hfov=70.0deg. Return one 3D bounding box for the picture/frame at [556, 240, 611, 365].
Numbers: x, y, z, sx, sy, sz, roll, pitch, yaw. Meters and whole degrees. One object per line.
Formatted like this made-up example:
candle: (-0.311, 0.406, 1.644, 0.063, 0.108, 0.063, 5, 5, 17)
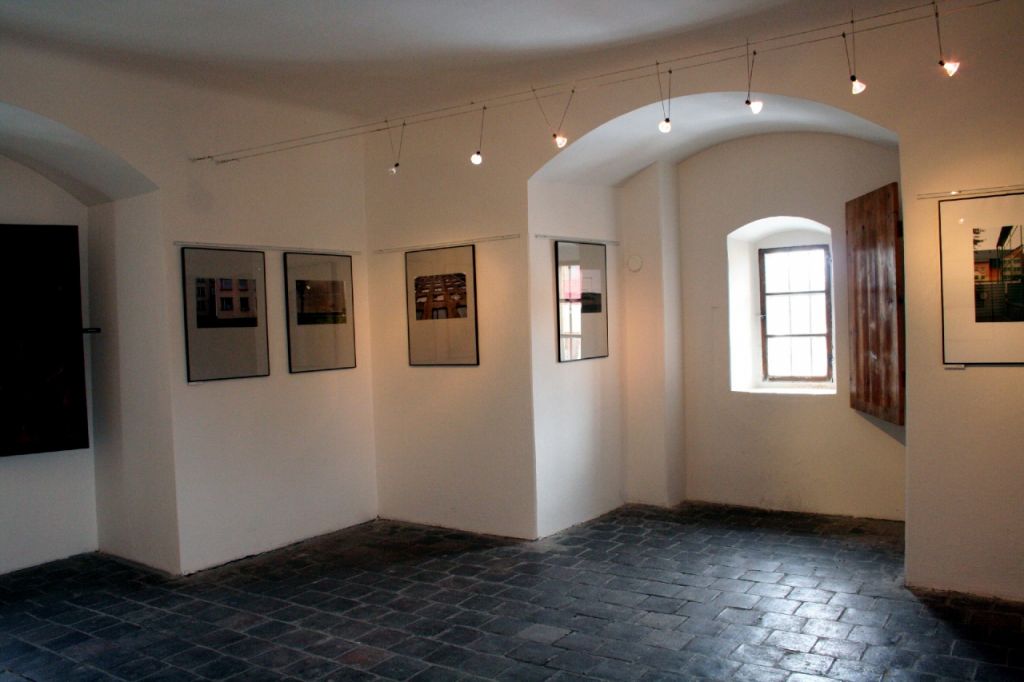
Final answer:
picture/frame: (0.801, -0.450, 8.260, 0.262, 1.369, 1.015, 4, 11, 37)
